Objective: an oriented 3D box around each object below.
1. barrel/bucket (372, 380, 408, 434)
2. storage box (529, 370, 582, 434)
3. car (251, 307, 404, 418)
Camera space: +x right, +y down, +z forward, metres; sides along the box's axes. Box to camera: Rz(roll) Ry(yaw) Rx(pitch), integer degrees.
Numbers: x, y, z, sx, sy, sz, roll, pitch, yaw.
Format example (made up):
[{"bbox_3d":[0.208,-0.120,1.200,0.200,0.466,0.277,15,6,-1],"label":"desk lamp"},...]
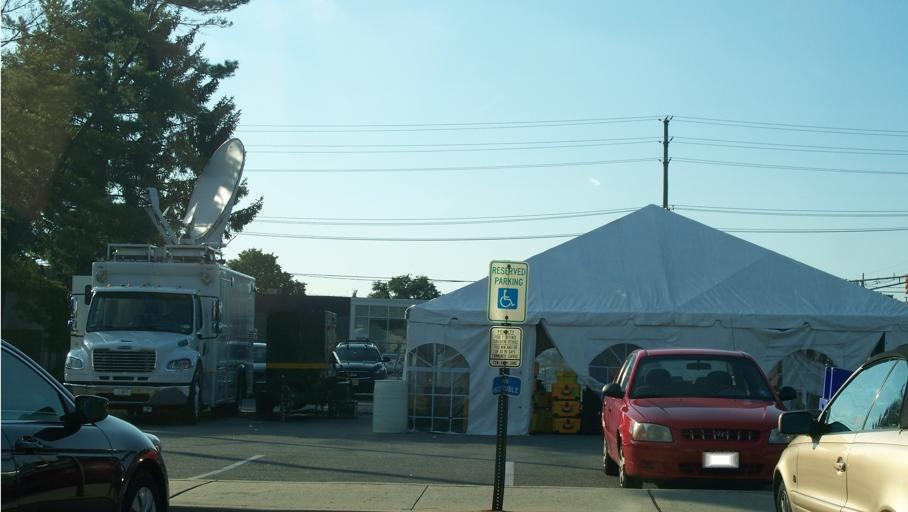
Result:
[{"bbox_3d":[-2.034,4.894,37.489,1.126,1.792,0.742,4,-14,-5],"label":"barrel/bucket"},{"bbox_3d":[3.467,4.796,38.037,1.713,2.090,0.851,1,-14,4],"label":"storage box"},{"bbox_3d":[-6.053,4.021,43.002,3.529,3.513,6.448,3,-7,-39],"label":"car"}]
